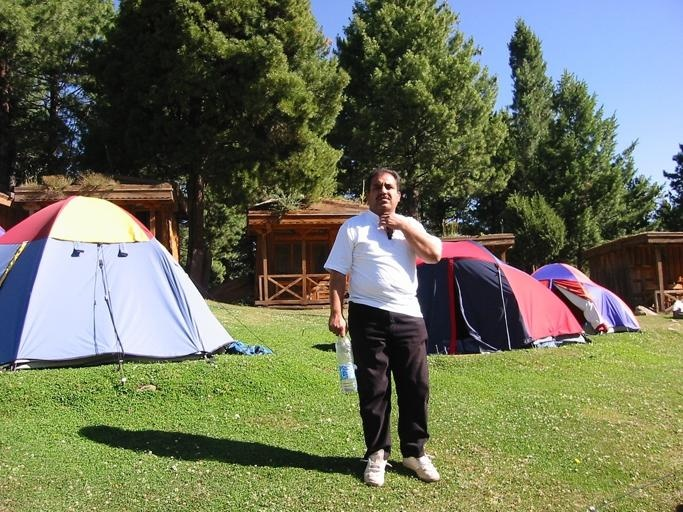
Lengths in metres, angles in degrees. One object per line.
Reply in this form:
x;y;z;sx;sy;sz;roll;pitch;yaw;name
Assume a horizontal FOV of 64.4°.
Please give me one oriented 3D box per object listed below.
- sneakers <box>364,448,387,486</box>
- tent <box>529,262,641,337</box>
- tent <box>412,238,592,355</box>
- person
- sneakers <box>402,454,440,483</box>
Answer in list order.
0.299;1.894;4.843;0.178;0.214;0.523;6;-2;11;sneakers
5.595;1.041;12.667;1.737;1.214;2.013;-2;-3;45;tent
2.714;0.946;10.875;2.259;1.348;2.218;0;-2;0;tent
0.386;0.589;4.843;0.996;2.783;0.483;0;3;0;person
0.715;1.877;4.874;0.330;0.165;0.162;5;9;39;sneakers
